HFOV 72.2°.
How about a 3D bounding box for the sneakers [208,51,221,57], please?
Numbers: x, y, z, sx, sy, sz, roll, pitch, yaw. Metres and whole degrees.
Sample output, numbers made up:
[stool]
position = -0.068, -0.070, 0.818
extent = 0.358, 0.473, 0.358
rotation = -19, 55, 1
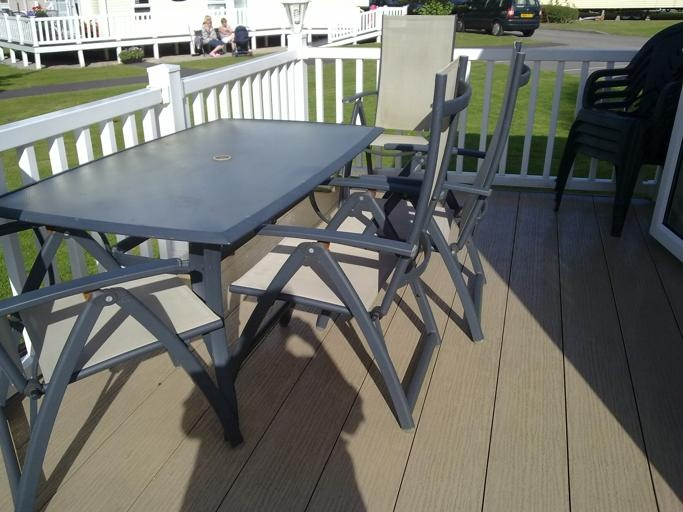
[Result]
[sneakers]
position = -4.702, -7.415, 17.151
extent = 0.300, 0.134, 0.228
rotation = 18, 32, 27
